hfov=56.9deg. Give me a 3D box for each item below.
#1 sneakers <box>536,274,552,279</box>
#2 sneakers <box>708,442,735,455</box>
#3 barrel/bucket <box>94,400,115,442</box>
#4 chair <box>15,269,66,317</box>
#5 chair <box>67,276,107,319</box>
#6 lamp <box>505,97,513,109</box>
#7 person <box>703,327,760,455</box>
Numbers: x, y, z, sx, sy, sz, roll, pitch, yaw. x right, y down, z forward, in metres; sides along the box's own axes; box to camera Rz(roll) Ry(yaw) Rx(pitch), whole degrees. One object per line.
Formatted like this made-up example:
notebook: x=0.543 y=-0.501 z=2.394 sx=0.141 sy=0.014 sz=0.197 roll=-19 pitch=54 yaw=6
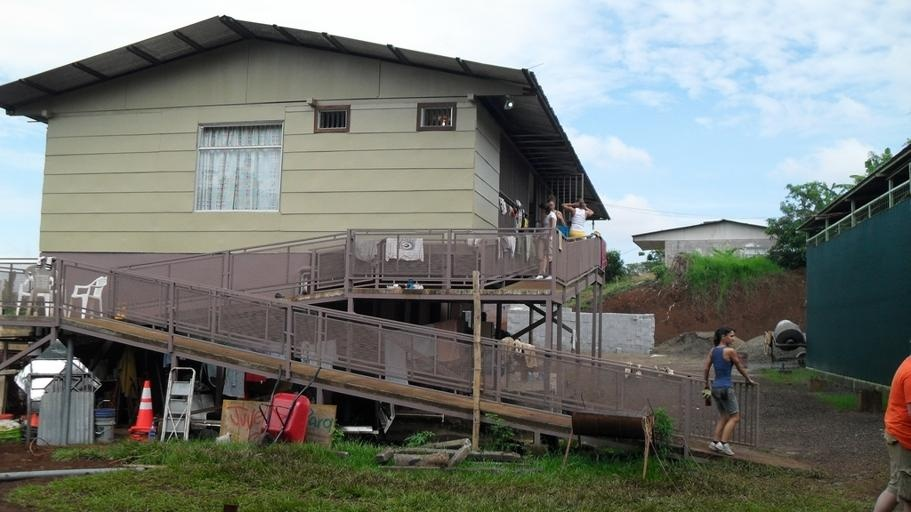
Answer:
sneakers: x=2.536 y=0.590 z=24.497 sx=0.415 sy=0.156 sz=0.099 roll=1 pitch=5 yaw=4
sneakers: x=6.843 y=4.912 z=21.751 sx=0.667 sy=0.282 sz=0.253 roll=12 pitch=0 yaw=0
barrel/bucket: x=-9.742 y=4.632 z=23.280 sx=0.513 sy=0.842 sz=0.678 roll=-1 pitch=5 yaw=-23
chair: x=-12.037 y=0.994 z=24.115 sx=1.139 sy=1.345 sz=0.548 roll=2 pitch=5 yaw=13
chair: x=-11.210 y=1.276 z=25.638 sx=1.134 sy=1.382 sz=1.044 roll=-4 pitch=-7 yaw=36
lamp: x=1.691 y=-4.796 z=26.487 sx=0.226 sy=0.337 sz=0.368 roll=0 pitch=-25 yaw=5
person: x=7.080 y=3.483 z=22.028 sx=1.092 sy=3.145 sz=1.142 roll=3 pitch=5 yaw=19
